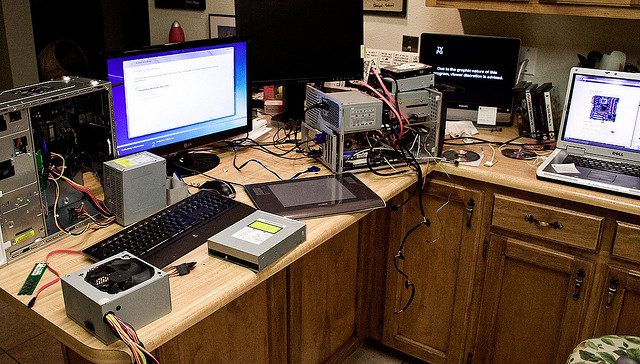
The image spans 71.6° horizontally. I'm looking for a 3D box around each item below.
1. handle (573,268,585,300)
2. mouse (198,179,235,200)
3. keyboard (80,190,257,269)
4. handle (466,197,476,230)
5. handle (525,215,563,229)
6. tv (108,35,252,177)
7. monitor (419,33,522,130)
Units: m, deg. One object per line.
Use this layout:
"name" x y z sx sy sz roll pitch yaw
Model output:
"handle" 1.399 0.550 2.399 0.037 0.180 0.048 8 28 16
"mouse" -0.510 0.028 2.192 0.164 0.053 0.086 12 18 10
"keyboard" -0.637 0.192 1.988 0.361 0.077 0.583 15 32 29
"handle" 0.856 0.178 2.539 0.040 0.189 0.036 9 28 17
"handle" 1.212 0.208 2.405 0.128 0.039 0.080 5 14 27
"tv" -0.750 -0.420 2.369 0.268 0.654 0.936 21 29 28
"monitor" 0.959 -0.640 2.794 0.706 0.591 0.238 4 18 19
